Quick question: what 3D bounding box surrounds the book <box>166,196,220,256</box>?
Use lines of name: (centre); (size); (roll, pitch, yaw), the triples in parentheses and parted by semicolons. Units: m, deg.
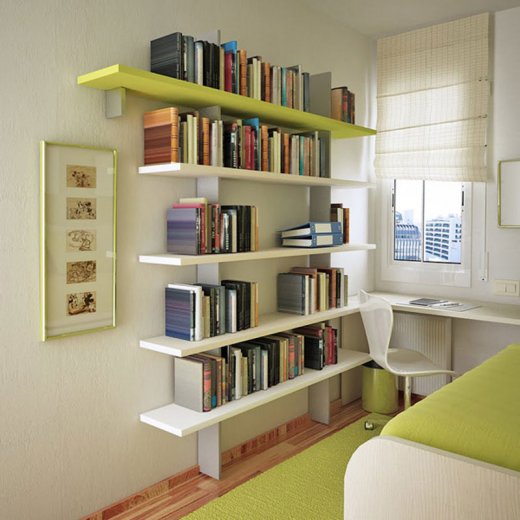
book: (-0.297, -0.133, 2.351); (0.293, 0.308, 0.219); (5, 7, 44)

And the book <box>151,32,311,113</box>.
book: (-0.149, -0.838, 2.335); (0.142, 0.217, 0.629); (6, 8, 42)

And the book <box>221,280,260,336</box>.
book: (-0.066, 0.204, 2.467); (0.189, 0.261, 0.257); (1, 2, 28)

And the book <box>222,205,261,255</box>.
book: (-0.099, -0.107, 2.438); (0.182, 0.251, 0.250); (0, -4, -31)

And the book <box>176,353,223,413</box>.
book: (-0.288, 0.557, 2.303); (0.245, 0.209, 0.252); (16, -16, -41)

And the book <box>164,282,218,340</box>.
book: (-0.319, 0.226, 2.334); (0.219, 0.237, 0.155); (5, 7, 39)

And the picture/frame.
picture/frame: (-0.703, -0.074, 1.996); (0.036, 0.726, 0.329); (5, 7, 39)

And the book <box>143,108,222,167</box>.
book: (-0.322, -0.523, 2.241); (0.237, 0.235, 0.310); (6, 8, 44)
